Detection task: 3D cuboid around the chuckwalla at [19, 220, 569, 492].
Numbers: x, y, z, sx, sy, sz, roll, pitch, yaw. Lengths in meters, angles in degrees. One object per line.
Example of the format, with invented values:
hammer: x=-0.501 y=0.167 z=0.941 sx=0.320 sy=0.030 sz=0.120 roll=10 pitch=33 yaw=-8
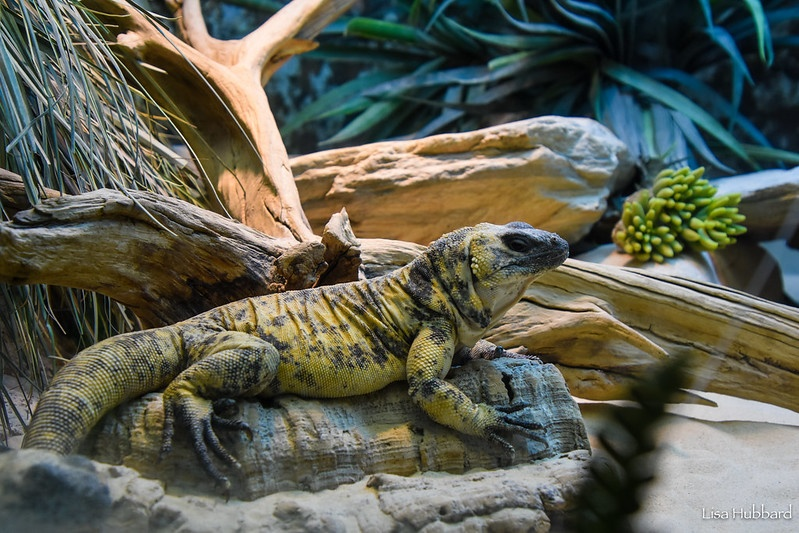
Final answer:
chuckwalla: x=-0.530 y=0.495 z=5.700 sx=3.207 sy=1.469 sz=0.892 roll=0 pitch=21 yaw=-15
